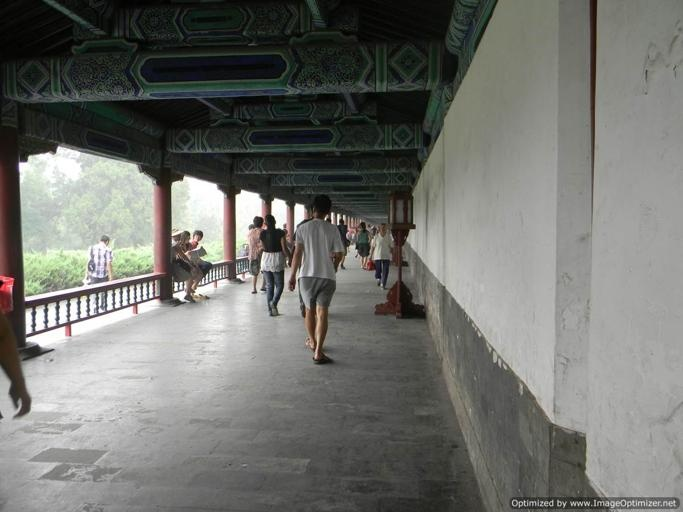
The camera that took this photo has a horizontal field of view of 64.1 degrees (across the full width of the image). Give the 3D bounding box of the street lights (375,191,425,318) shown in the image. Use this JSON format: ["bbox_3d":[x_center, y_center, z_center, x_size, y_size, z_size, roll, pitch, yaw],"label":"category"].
[{"bbox_3d":[0.811,-0.033,7.562,0.738,1.756,0.791,3,5,19],"label":"street lights"}]

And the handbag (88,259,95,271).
[{"bbox_3d":[-4.157,0.161,9.051,0.125,0.186,0.064,1,5,20],"label":"handbag"}]

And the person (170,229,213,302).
[{"bbox_3d":[-2.572,0.154,9.354,0.522,1.198,0.889,0,5,8],"label":"person"}]

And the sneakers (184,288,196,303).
[{"bbox_3d":[-2.553,0.664,9.156,0.106,0.208,0.266,7,-3,12],"label":"sneakers"}]

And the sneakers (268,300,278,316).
[{"bbox_3d":[-0.974,0.720,7.693,0.084,0.239,0.104,-3,-1,-1],"label":"sneakers"}]

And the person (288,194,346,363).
[{"bbox_3d":[-0.239,0.203,5.210,0.484,1.561,0.424,0,5,8],"label":"person"}]

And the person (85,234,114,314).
[{"bbox_3d":[-4.077,0.306,9.195,0.374,1.313,0.330,3,1,-25],"label":"person"}]
